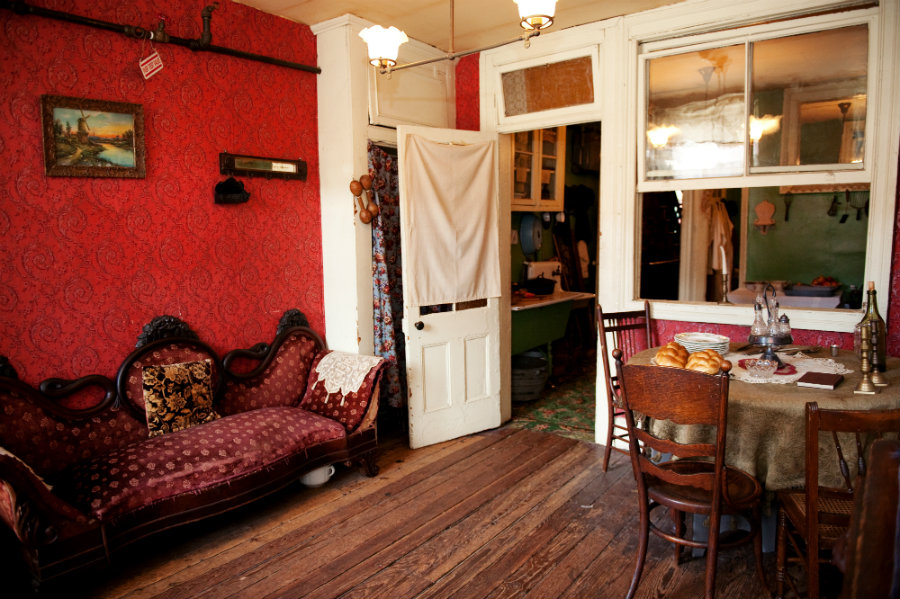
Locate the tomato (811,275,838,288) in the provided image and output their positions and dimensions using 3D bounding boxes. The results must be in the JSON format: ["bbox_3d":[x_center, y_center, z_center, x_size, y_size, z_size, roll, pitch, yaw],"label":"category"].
[{"bbox_3d":[3.354,-0.164,5.527,0.174,0.064,0.170,-6,9,2],"label":"tomato"}]

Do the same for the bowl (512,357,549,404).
[{"bbox_3d":[0.823,0.832,6.345,0.400,0.326,0.450,0,-3,-11],"label":"bowl"}]

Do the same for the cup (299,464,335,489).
[{"bbox_3d":[-0.992,1.334,4.668,0.229,0.160,0.177,2,-10,-20],"label":"cup"}]

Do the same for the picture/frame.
[{"bbox_3d":[-2.501,-1.135,4.290,0.707,0.603,0.052,-1,1,-39],"label":"picture/frame"}]

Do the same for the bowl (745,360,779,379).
[{"bbox_3d":[1.894,0.417,3.773,0.119,0.056,0.116,-3,7,0],"label":"bowl"}]

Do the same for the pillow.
[{"bbox_3d":[-1.976,0.721,4.494,0.552,0.511,0.077,-4,-7,-42],"label":"pillow"}]

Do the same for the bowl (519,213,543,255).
[{"bbox_3d":[1.023,-0.817,7.743,0.334,0.500,0.156,-9,12,-32],"label":"bowl"}]

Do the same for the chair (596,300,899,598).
[{"bbox_3d":[1.511,1.026,3.455,1.328,1.441,0.835,6,13,40],"label":"chair"}]
